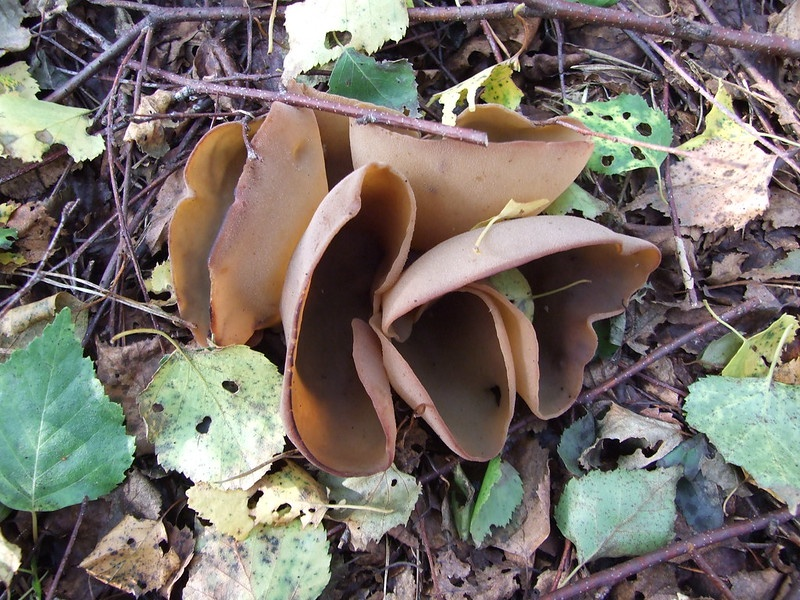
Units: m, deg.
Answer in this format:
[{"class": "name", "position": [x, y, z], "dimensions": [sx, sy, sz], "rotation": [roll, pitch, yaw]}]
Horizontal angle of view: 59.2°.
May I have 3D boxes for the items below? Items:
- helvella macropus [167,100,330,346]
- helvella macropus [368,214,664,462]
[{"class": "helvella macropus", "position": [-0.380, -0.174, 1.794], "dimensions": [0.292, 0.501, 0.510], "rotation": [21, 52, 19]}, {"class": "helvella macropus", "position": [0.163, 0.198, 1.809], "dimensions": [0.373, 0.234, 0.477], "rotation": [21, 59, -10]}]
